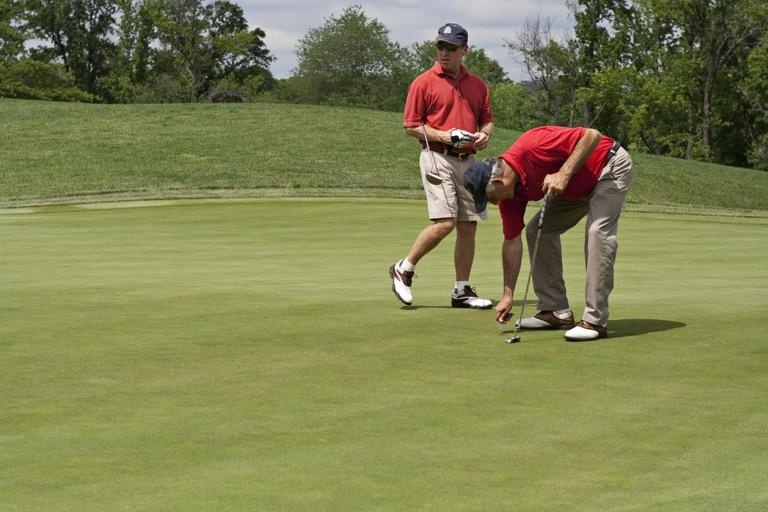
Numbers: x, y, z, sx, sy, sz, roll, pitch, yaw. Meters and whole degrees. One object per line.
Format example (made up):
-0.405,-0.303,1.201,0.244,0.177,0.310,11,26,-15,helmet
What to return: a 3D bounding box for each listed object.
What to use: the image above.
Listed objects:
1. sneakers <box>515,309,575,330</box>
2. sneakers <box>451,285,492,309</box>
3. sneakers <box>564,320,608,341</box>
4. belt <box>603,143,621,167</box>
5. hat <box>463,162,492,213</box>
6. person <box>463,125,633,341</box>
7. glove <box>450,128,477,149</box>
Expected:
1.365,0.535,7.855,0.571,0.181,0.190,2,-4,1,sneakers
0.780,0.389,8.442,0.460,0.168,0.159,1,0,8,sneakers
1.575,0.585,7.220,0.311,0.106,0.148,2,-6,-30,sneakers
1.807,-0.808,7.362,0.053,0.178,0.139,36,-2,-14,belt
0.765,-0.564,7.423,0.243,0.443,0.419,1,8,5,hat
1.341,-0.204,7.498,1.192,1.675,0.869,3,9,15,person
0.725,-1.077,8.503,0.184,0.081,0.210,9,1,-30,glove
